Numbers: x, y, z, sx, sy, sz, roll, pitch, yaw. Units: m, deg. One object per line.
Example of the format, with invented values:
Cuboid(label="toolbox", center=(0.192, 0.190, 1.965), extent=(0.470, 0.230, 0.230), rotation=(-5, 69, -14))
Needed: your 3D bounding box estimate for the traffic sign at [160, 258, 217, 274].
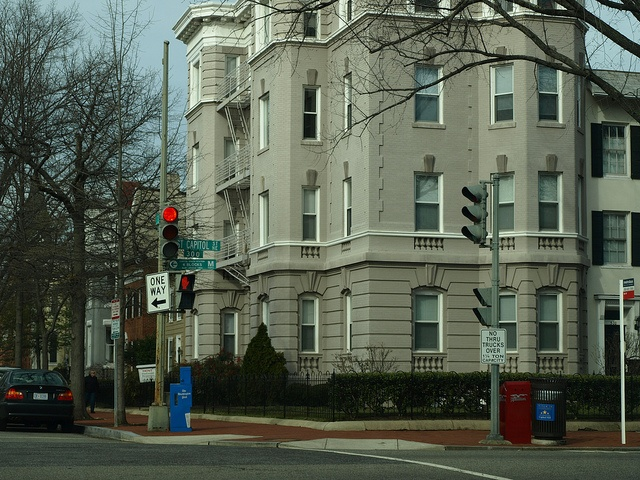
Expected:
Cuboid(label="traffic sign", center=(-3.977, 0.688, 44.637), extent=(1.605, 0.489, 0.923), rotation=(-5, -12, 16))

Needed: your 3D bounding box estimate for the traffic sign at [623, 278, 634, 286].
Cuboid(label="traffic sign", center=(9.249, 1.240, 43.601), extent=(0.169, 0.237, 0.323), rotation=(1, -4, -22))

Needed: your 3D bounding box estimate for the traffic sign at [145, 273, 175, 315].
Cuboid(label="traffic sign", center=(-5.058, 1.572, 45.406), extent=(1.025, 1.293, 0.498), rotation=(-9, -12, 34))

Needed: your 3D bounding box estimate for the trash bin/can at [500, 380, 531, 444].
Cuboid(label="trash bin/can", center=(5.822, 5.113, 43.465), extent=(0.982, 1.896, 0.634), rotation=(-3, -10, 7))

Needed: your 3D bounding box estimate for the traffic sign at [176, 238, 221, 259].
Cuboid(label="traffic sign", center=(-4.071, 0.213, 48.022), extent=(1.234, 0.598, 0.028), rotation=(6, -21, -31))

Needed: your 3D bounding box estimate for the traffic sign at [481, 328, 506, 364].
Cuboid(label="traffic sign", center=(5.116, 3.102, 43.022), extent=(0.932, 1.382, 0.126), rotation=(-1, -4, 5))
